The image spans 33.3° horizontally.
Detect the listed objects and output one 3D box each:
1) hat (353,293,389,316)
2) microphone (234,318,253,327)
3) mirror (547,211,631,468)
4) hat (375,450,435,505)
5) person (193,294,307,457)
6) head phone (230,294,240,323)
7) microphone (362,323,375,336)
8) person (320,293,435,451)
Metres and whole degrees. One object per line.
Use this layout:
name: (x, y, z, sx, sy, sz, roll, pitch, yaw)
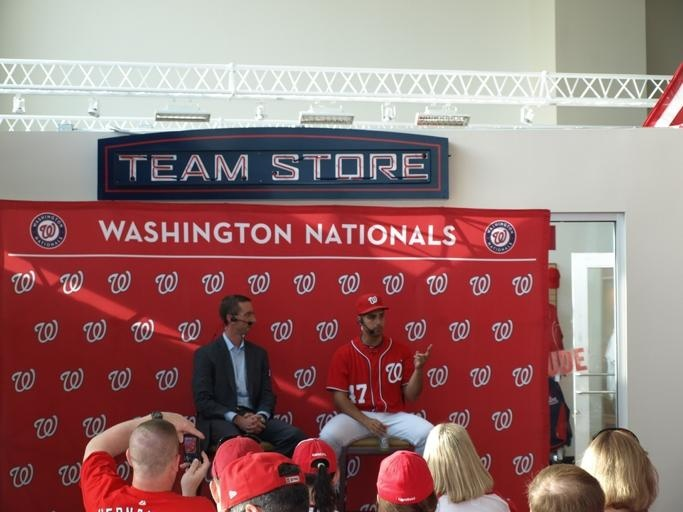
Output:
hat: (0.289, 0.480, 11.611, 0.305, 0.220, 0.196, 0, 1, 5)
microphone: (-1.022, 0.646, 11.593, 0.131, 0.056, 0.103, 22, -1, 2)
mirror: (2.670, 0.832, 12.231, 0.815, 2.631, 0.335, 0, 1, 10)
hat: (0.565, 1.926, 9.904, 0.501, 0.376, 0.804, -1, 4, 5)
person: (-0.988, 1.508, 11.427, 0.901, 2.338, 1.195, 3, -4, -44)
head phone: (-1.108, 0.518, 11.610, 0.093, 0.214, 0.142, 6, -8, -21)
microphone: (0.282, 0.726, 11.606, 0.099, 0.121, 0.138, 2, -13, -15)
person: (0.361, 1.476, 11.491, 1.136, 2.217, 1.151, -1, -1, 5)
